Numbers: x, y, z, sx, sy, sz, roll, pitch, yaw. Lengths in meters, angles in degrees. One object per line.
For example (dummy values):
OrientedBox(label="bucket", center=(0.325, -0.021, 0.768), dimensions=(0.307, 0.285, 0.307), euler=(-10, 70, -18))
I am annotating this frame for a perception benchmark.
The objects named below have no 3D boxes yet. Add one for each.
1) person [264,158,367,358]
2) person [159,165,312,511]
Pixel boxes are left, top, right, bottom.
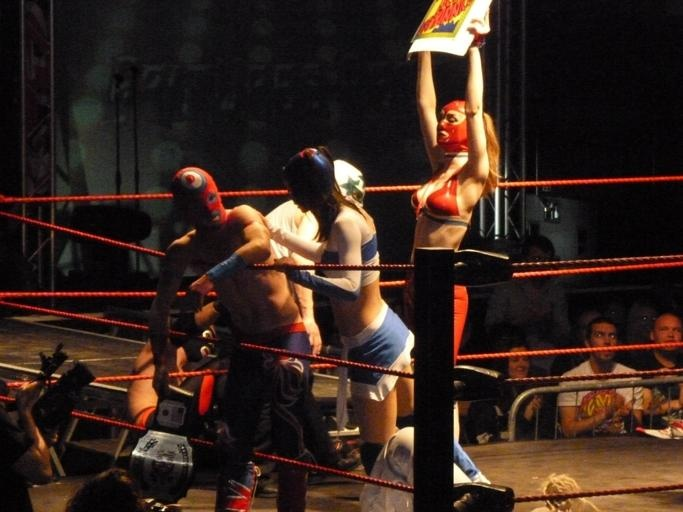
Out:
OrientedBox(label="person", center=(-0.147, 0.010, 5.645), dimensions=(0.482, 1.161, 0.864), euler=(-17, 8, -8))
OrientedBox(label="person", center=(-0.576, 0.483, 4.826), dimensions=(0.993, 1.881, 0.630), euler=(6, -7, -11))
